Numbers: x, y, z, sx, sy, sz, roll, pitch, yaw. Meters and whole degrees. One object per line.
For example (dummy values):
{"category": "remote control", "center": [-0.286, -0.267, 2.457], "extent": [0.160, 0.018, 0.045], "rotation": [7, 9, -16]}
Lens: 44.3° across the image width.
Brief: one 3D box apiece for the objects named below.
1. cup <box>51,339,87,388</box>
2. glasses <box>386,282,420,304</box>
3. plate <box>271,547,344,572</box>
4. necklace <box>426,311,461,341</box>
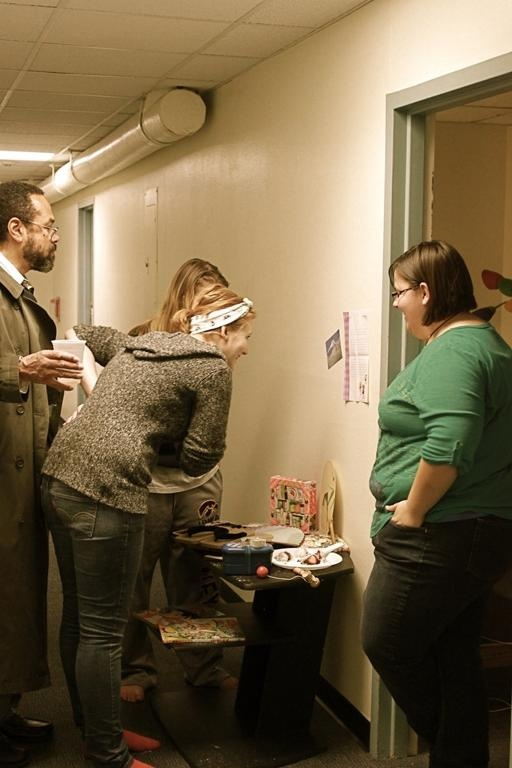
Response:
{"category": "cup", "center": [-0.529, -0.057, 1.821], "extent": [0.123, 0.132, 0.123], "rotation": [1, -7, 0]}
{"category": "glasses", "center": [0.382, -0.237, 1.613], "extent": [0.088, 0.024, 0.084], "rotation": [-3, 2, -8]}
{"category": "plate", "center": [0.159, 0.595, 2.151], "extent": [0.206, 0.045, 0.327], "rotation": [0, -5, 27]}
{"category": "necklace", "center": [0.459, -0.143, 1.554], "extent": [0.068, 0.035, 0.053], "rotation": [-42, -2, 18]}
